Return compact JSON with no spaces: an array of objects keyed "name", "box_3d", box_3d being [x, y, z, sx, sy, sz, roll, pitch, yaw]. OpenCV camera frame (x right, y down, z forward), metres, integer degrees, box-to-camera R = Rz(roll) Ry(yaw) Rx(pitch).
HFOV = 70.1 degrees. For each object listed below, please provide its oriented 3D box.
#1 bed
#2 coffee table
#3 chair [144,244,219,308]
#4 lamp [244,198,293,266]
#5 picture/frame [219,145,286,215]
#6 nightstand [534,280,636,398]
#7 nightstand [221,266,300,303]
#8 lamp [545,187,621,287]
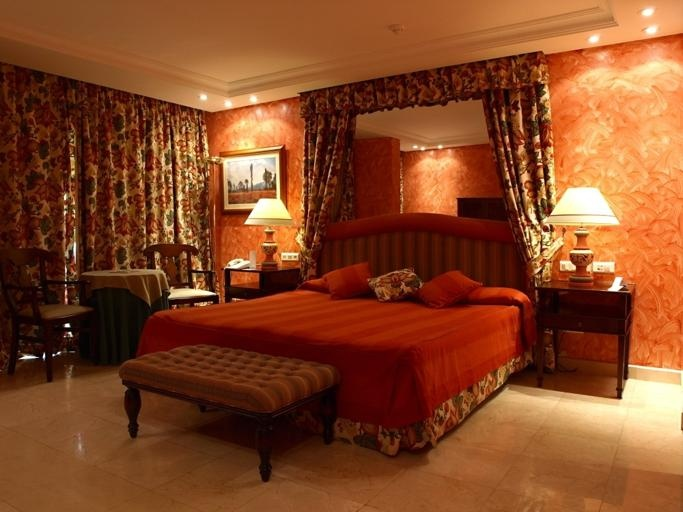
[{"name":"bed","box_3d":[0.603,0.624,4.348,2.422,1.432,2.389,0,0,38]},{"name":"coffee table","box_3d":[-2.330,0.648,5.554,0.930,0.946,0.934,2,4,35]},{"name":"chair","box_3d":[-1.960,0.398,6.059,0.874,1.112,0.896,-1,0,-16]},{"name":"lamp","box_3d":[-0.951,-0.280,6.424,0.676,0.878,0.706,1,-4,-30]},{"name":"picture/frame","box_3d":[-1.212,-1.078,6.820,1.064,0.802,0.043,1,2,31]},{"name":"nightstand","box_3d":[2.354,0.716,4.709,0.800,1.004,0.877,3,7,31]},{"name":"nightstand","box_3d":[-1.038,0.340,6.285,0.631,0.599,0.643,1,2,34]},{"name":"lamp","box_3d":[2.337,-0.217,4.711,0.600,0.891,0.607,5,8,40]}]
